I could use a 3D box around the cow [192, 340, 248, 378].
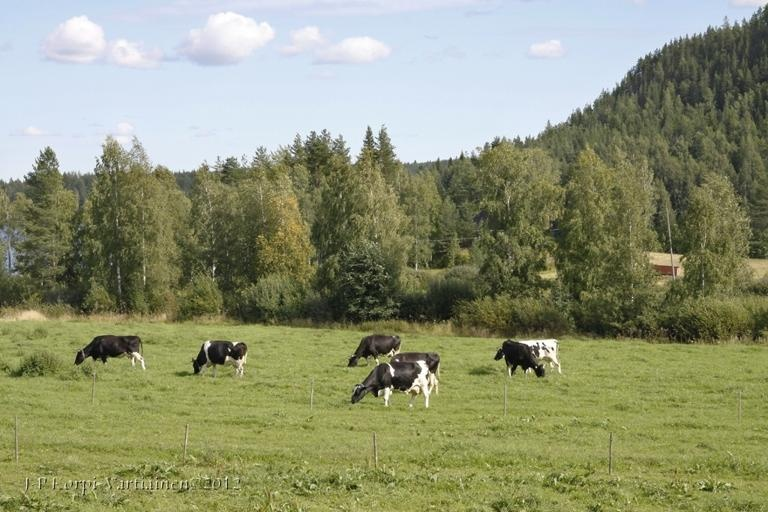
[{"bbox_3d":[-19.675,12.394,171.338,7.265,4.884,3.081,1,-3,8],"label":"cow"}]

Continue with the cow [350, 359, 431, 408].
[{"bbox_3d":[1.245,15.287,165.580,8.419,5.492,1.689,-1,-3,1],"label":"cow"}]
